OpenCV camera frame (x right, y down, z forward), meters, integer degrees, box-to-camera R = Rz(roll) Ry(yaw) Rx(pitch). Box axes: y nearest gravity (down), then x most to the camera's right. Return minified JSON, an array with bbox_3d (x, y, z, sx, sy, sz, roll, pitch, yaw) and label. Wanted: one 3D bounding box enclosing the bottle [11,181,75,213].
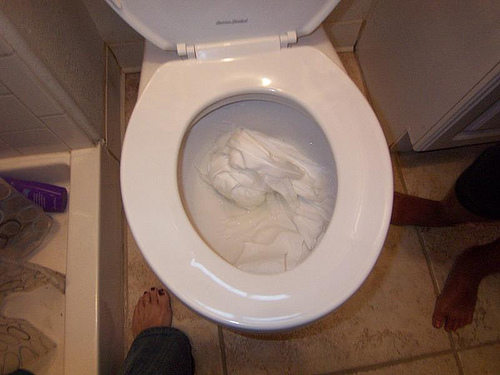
[{"bbox_3d":[-0.627,0.022,1.170,0.173,0.042,0.095,10,90,-36],"label":"bottle"}]
